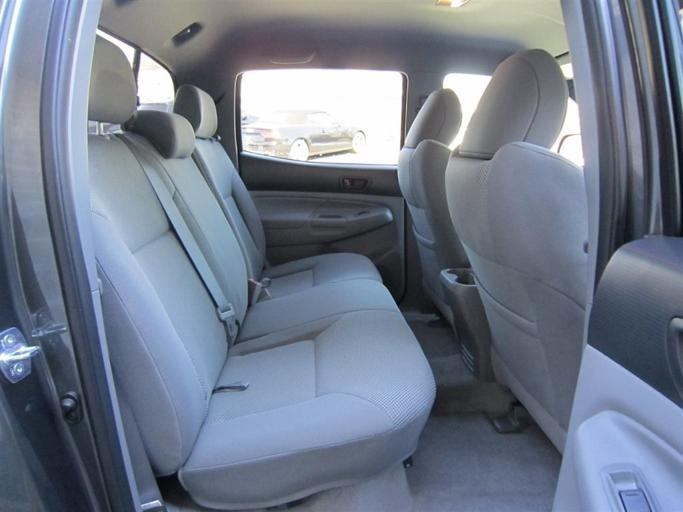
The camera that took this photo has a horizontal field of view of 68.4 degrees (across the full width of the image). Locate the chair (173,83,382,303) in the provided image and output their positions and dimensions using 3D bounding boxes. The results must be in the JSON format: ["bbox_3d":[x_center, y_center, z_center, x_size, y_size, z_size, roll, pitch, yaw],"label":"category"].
[{"bbox_3d":[-0.274,-0.244,2.306,0.804,1.104,0.605,-7,18,-4],"label":"chair"}]

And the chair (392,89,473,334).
[{"bbox_3d":[0.504,-0.229,2.237,0.509,0.975,0.566,1,11,4],"label":"chair"}]

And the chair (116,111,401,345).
[{"bbox_3d":[-0.250,-0.097,2.069,0.685,0.852,0.866,-7,22,-6],"label":"chair"}]
